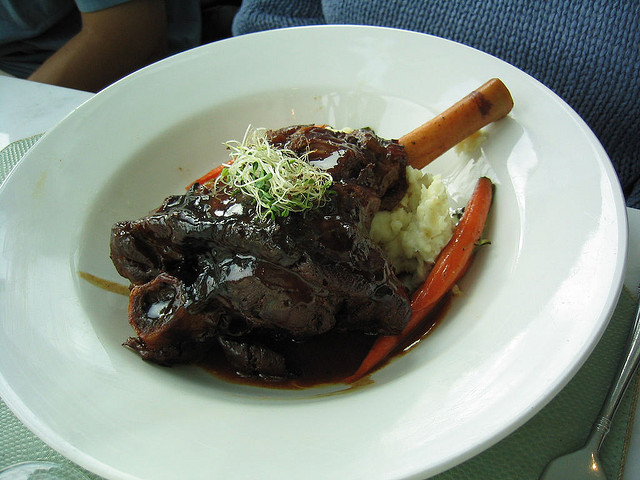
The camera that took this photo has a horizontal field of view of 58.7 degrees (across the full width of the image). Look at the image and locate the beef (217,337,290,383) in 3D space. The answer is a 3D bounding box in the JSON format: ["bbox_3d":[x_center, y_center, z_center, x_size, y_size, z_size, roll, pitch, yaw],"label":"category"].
[{"bbox_3d":[-0.406,0.677,3.372,0.429,0.230,0.144,13,95,-19],"label":"beef"}]
